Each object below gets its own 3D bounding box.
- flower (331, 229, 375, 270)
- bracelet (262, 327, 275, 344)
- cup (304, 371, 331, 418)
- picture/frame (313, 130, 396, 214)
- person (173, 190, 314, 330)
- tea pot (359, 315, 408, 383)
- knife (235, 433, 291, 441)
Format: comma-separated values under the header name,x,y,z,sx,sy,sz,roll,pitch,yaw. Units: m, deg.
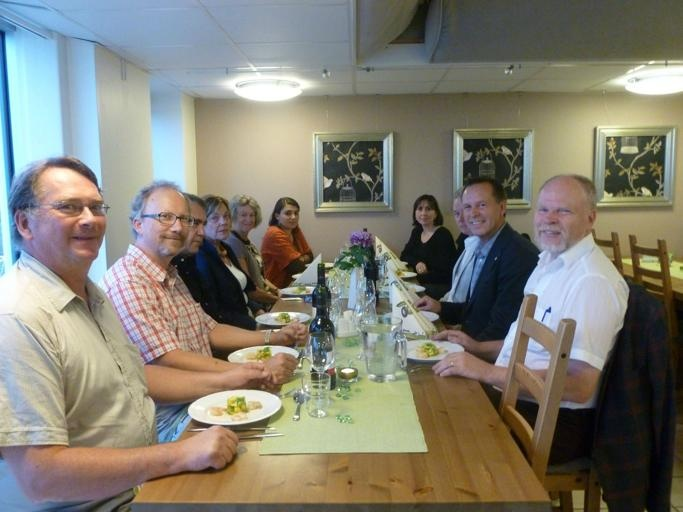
name,x,y,z,sx,sy,sz,roll,pitch,yaw
flower,0.094,-0.039,3.349,0.279,0.290,0.219,-6,17,-23
bracelet,-0.350,0.387,2.444,0.052,0.084,0.074,2,8,4
cup,-0.079,0.480,1.766,0.126,0.198,0.124,0,-1,0
picture/frame,0.170,-1.021,5.880,0.894,0.878,0.120,-1,8,3
person,-0.516,0.099,3.326,0.818,1.147,0.655,-4,15,-5
tea pot,0.172,0.371,2.048,0.238,0.247,0.158,-1,4,-8
knife,-0.251,0.578,1.621,0.139,0.010,0.028,0,18,-5
